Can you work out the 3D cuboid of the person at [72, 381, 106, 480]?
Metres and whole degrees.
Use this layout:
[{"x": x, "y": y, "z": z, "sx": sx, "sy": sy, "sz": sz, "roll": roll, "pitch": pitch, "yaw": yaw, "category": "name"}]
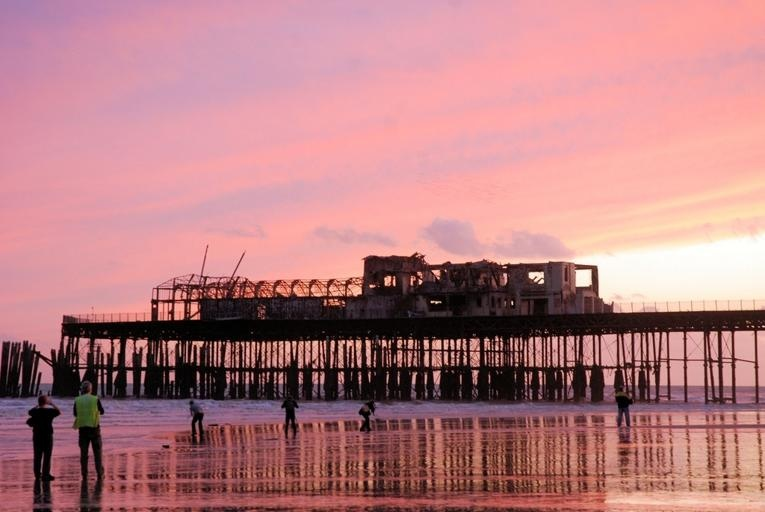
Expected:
[{"x": -9.274, "y": 5.456, "z": 43.116, "sx": 0.920, "sy": 3.109, "sz": 1.580, "roll": 0, "pitch": -10, "yaw": -12, "category": "person"}]
